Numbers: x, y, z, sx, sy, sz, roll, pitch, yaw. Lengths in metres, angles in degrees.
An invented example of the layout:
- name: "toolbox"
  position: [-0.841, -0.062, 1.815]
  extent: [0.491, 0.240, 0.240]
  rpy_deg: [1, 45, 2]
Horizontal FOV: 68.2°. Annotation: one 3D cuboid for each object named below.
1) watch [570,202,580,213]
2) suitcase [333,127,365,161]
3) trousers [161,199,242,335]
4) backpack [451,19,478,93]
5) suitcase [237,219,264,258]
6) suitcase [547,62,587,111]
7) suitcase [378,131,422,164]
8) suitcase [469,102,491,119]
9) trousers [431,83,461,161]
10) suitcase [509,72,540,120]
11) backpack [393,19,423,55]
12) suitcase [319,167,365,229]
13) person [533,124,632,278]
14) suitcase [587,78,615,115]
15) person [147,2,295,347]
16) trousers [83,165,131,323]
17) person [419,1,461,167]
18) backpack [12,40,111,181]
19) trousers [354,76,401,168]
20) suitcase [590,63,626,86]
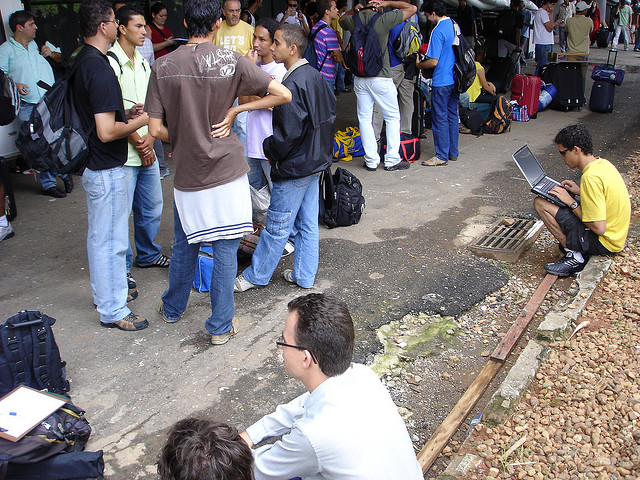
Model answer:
- name: "watch"
  position: [2.543, -0.331, 4.727]
  extent: [0.074, 0.080, 0.076]
  rpy_deg: [7, -21, -19]
- name: "suitcase"
  position: [0.546, -1.719, 8.501]
  extent: [0.612, 0.512, 0.324]
  rpy_deg: [-19, 9, -28]
- name: "trousers"
  position: [-0.977, 0.212, 3.836]
  extent: [0.791, 1.138, 0.310]
  rpy_deg: [10, 22, 35]
- name: "backpack"
  position: [2.282, -2.906, 7.491]
  extent: [0.378, 1.077, 0.488]
  rpy_deg: [2, 19, 14]
- name: "suitcase"
  position: [-0.647, -0.012, 4.368]
  extent: [0.200, 0.278, 0.285]
  rpy_deg: [21, 17, 4]
- name: "suitcase"
  position: [5.999, -3.763, 11.576]
  extent: [0.896, 1.259, 0.900]
  rpy_deg: [-13, 19, -15]
- name: "suitcase"
  position: [1.367, -1.480, 8.254]
  extent: [0.507, 0.650, 0.890]
  rpy_deg: [4, 11, 43]
- name: "suitcase"
  position: [3.401, -2.799, 10.029]
  extent: [0.560, 0.377, 0.312]
  rpy_deg: [3, 20, 11]
- name: "trousers"
  position: [2.109, -2.093, 7.950]
  extent: [0.618, 1.443, 0.439]
  rpy_deg: [-15, 16, -41]
- name: "suitcase"
  position: [4.687, -3.269, 10.787]
  extent: [0.582, 0.968, 0.464]
  rpy_deg: [4, 20, 22]
- name: "backpack"
  position: [1.636, -3.528, 8.342]
  extent: [0.510, 0.648, 0.375]
  rpy_deg: [-29, 44, -35]
- name: "suitcase"
  position: [0.361, -0.465, 6.045]
  extent: [0.615, 0.710, 0.621]
  rpy_deg: [3, -11, -25]
- name: "person"
  position: [2.635, -0.389, 4.726]
  extent: [0.840, 1.458, 0.749]
  rpy_deg: [8, 21, 31]
- name: "suitcase"
  position: [6.708, -3.409, 11.235]
  extent: [0.491, 0.745, 0.451]
  rpy_deg: [15, 19, 31]
- name: "person"
  position: [-0.754, -0.405, 3.594]
  extent: [0.877, 2.540, 0.361]
  rpy_deg: [-5, 18, -6]
- name: "trousers"
  position: [-1.721, 0.047, 3.872]
  extent: [0.390, 1.278, 0.205]
  rpy_deg: [-11, 20, -22]
- name: "person"
  position: [2.015, -2.516, 7.720]
  extent: [0.590, 2.558, 0.672]
  rpy_deg: [13, 24, 40]
- name: "backpack"
  position: [-1.974, -1.002, 3.623]
  extent: [0.800, 0.974, 0.313]
  rpy_deg: [-1, 18, 7]
- name: "trousers"
  position: [0.945, -1.923, 7.708]
  extent: [0.742, 1.461, 0.353]
  rpy_deg: [-2, 18, 4]
- name: "suitcase"
  position: [6.848, -3.919, 11.221]
  extent: [0.631, 0.437, 0.832]
  rpy_deg: [7, 21, 28]
